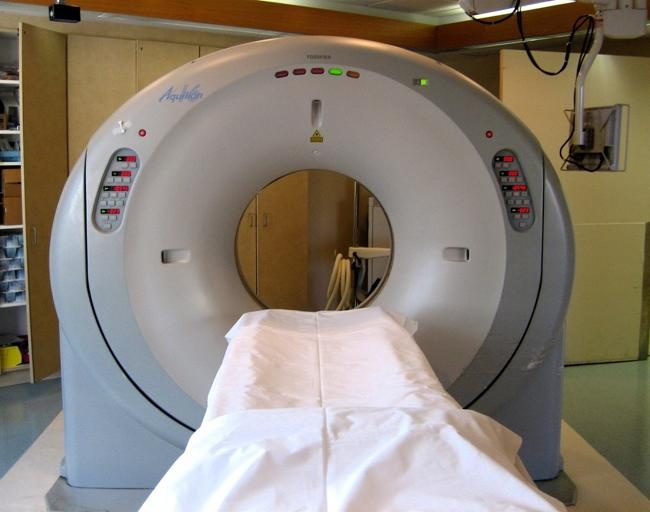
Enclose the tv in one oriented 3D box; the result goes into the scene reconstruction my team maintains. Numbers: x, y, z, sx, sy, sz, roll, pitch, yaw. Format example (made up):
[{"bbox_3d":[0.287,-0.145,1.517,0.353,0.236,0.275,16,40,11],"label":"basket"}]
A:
[{"bbox_3d":[1.459,-0.636,2.962,0.118,0.384,0.347,-9,15,-29],"label":"tv"}]
